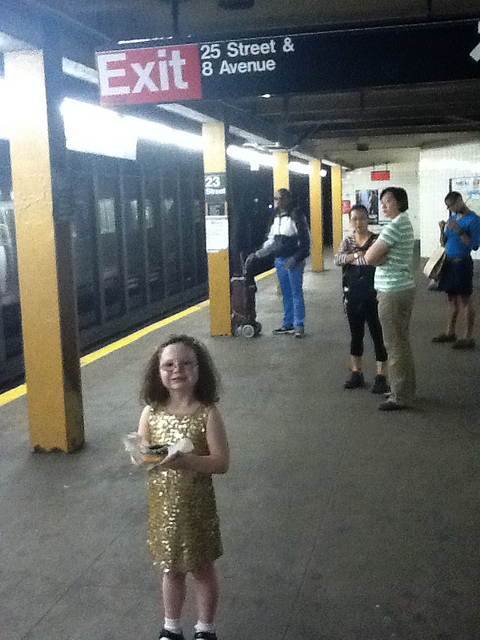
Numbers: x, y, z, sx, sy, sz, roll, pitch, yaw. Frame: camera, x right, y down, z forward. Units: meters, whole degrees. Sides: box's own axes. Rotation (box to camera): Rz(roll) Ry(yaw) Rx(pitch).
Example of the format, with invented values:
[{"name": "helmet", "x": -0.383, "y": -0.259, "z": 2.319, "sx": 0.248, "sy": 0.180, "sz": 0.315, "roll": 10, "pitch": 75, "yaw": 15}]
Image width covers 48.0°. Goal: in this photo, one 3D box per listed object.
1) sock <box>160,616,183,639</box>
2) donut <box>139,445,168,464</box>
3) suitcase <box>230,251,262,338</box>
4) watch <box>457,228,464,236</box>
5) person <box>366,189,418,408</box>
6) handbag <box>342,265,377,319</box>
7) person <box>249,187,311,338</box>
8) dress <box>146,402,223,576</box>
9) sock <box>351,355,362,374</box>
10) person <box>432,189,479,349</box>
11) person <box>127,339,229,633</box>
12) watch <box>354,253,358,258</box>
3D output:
[{"name": "sock", "x": -0.221, "y": 0.995, "z": 1.779, "sx": 0.057, "sy": 0.074, "sz": 0.063, "roll": -3, "pitch": 7, "yaw": -10}, {"name": "donut", "x": -0.249, "y": 0.389, "z": 1.554, "sx": 0.082, "sy": 0.025, "sz": 0.141, "roll": -3, "pitch": 7, "yaw": -11}, {"name": "suitcase", "x": 0.057, "y": -0.359, "z": 7.983, "sx": 0.458, "sy": 1.281, "sz": 0.431, "roll": -2, "pitch": -1, "yaw": 11}, {"name": "watch", "x": 2.650, "y": -1.052, "z": 6.438, "sx": 0.057, "sy": 0.084, "sz": 0.079, "roll": 10, "pitch": -11, "yaw": -30}, {"name": "person", "x": 1.402, "y": -0.208, "z": 4.870, "sx": 0.411, "sy": 1.897, "sz": 0.885, "roll": 0, "pitch": 7, "yaw": 19}, {"name": "handbag", "x": 1.181, "y": -0.277, "z": 5.213, "sx": 0.381, "sy": 0.570, "sz": 0.305, "roll": -4, "pitch": -14, "yaw": 0}, {"name": "person", "x": 0.660, "y": -0.787, "z": 7.646, "sx": 0.711, "sy": 2.078, "sz": 0.611, "roll": 1, "pitch": 7, "yaw": 21}, {"name": "dress", "x": -0.200, "y": 0.548, "z": 1.701, "sx": 0.254, "sy": 0.524, "sz": 0.306, "roll": -2, "pitch": 7, "yaw": 2}, {"name": "sock", "x": 1.179, "y": 0.435, "z": 5.408, "sx": 0.085, "sy": 0.211, "sz": 0.175, "roll": 0, "pitch": 7, "yaw": 16}, {"name": "person", "x": 2.693, "y": -0.601, "z": 6.673, "sx": 0.429, "sy": 1.912, "sz": 0.522, "roll": -4, "pitch": 7, "yaw": -16}, {"name": "person", "x": -0.189, "y": 0.617, "z": 1.816, "sx": 0.298, "sy": 1.100, "sz": 0.596, "roll": -3, "pitch": 7, "yaw": -6}, {"name": "watch", "x": 1.066, "y": -0.591, "z": 4.917, "sx": 0.010, "sy": 0.039, "sz": 0.065, "roll": -3, "pitch": 7, "yaw": -14}]
